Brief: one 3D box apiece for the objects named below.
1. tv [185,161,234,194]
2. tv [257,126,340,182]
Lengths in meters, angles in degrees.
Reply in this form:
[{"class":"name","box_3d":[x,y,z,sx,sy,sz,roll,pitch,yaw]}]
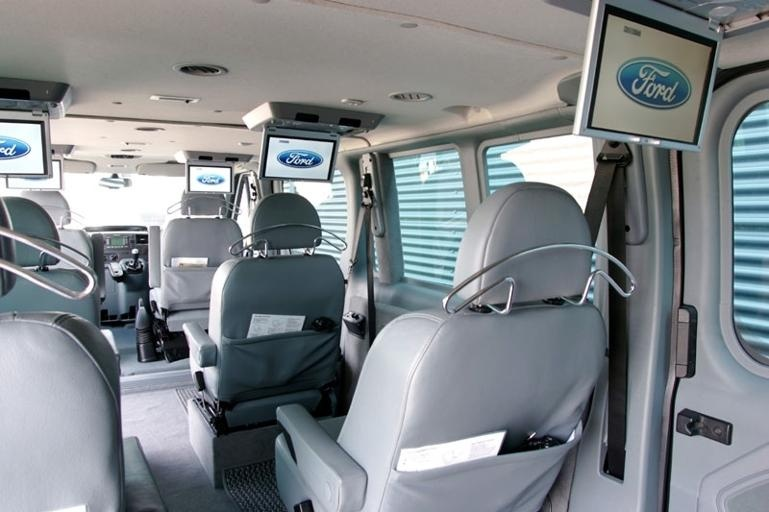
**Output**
[{"class":"tv","box_3d":[-2.130,-0.956,6.323,0.425,0.285,0.056,-1,6,-24]},{"class":"tv","box_3d":[-0.675,-0.817,4.146,0.487,0.311,0.047,1,32,-25]}]
